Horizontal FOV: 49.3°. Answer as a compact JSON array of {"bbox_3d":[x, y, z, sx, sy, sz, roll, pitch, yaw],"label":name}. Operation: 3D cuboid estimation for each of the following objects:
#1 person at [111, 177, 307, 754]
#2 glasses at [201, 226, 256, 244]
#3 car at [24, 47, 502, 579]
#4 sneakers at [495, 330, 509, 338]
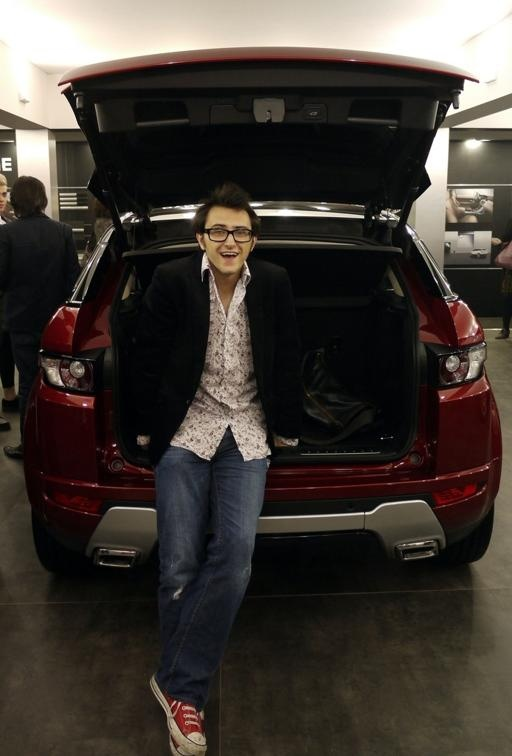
[{"bbox_3d":[-0.166,0.139,1.390,0.399,1.208,0.563,1,2,27],"label":"person"},{"bbox_3d":[-0.066,-0.340,1.350,0.116,0.038,0.042,-1,2,-6],"label":"glasses"},{"bbox_3d":[-0.024,-0.571,2.439,1.333,1.553,2.510,-1,28,-1],"label":"car"},{"bbox_3d":[3.655,-0.655,8.310,0.107,0.134,0.331,2,13,2],"label":"sneakers"}]
